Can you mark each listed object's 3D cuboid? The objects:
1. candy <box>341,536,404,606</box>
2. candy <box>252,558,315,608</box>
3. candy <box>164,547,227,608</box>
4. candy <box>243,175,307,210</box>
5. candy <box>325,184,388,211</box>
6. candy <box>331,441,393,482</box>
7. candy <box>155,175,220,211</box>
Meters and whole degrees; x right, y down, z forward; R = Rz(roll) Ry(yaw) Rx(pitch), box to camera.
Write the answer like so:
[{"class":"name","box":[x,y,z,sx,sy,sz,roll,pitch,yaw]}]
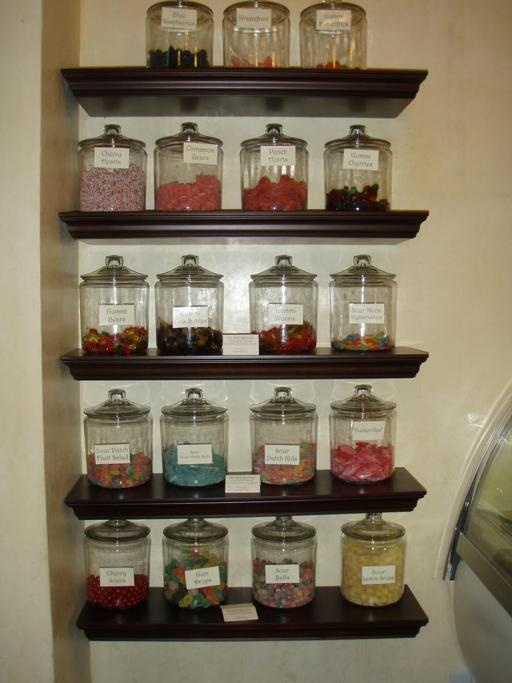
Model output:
[{"class":"candy","box":[0.350,0.738,2.190,0.231,0.245,0.224,0,-2,-4]},{"class":"candy","box":[0.091,0.755,2.078,0.191,0.134,0.181,0,-7,-3]},{"class":"candy","box":[-0.195,0.754,2.157,0.207,0.189,0.200,1,-5,-3]},{"class":"candy","box":[0.056,-0.436,1.995,0.137,0.059,0.135,-4,5,-37]},{"class":"candy","box":[0.315,-0.432,2.001,0.138,0.044,0.099,-4,8,-41]},{"class":"candy","box":[0.351,0.367,2.104,0.152,0.088,0.149,0,-1,-25]},{"class":"candy","box":[-0.208,-0.459,1.990,0.204,0.104,0.101,-2,10,-7]}]
